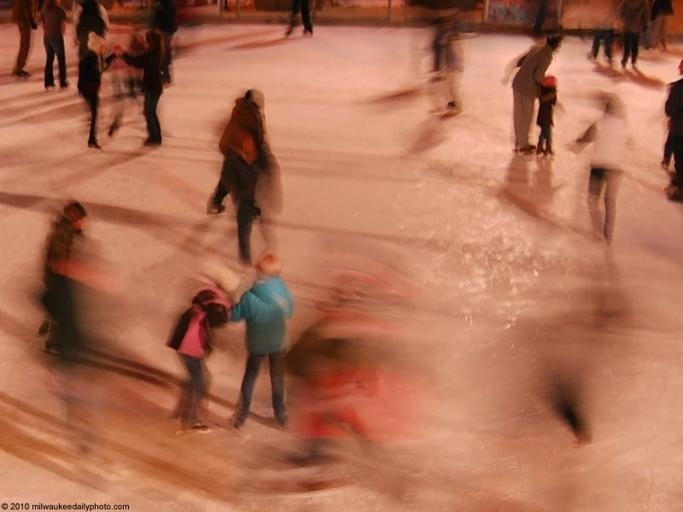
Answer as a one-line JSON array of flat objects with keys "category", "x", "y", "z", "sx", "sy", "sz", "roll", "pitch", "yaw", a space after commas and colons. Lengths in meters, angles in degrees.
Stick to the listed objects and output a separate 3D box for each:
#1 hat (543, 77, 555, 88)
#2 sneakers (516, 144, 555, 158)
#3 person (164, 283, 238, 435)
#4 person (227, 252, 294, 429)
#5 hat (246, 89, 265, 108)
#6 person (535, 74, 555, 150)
[{"category": "hat", "x": 2.948, "y": -2.468, "z": 9.909, "sx": 0.226, "sy": 0.146, "sz": 0.156, "roll": 0, "pitch": 26, "yaw": 0}, {"category": "sneakers", "x": 2.890, "y": -1.553, "z": 10.557, "sx": 0.625, "sy": 0.281, "sz": 0.209, "roll": 0, "pitch": 22, "yaw": 19}, {"category": "person", "x": -1.269, "y": 1.007, "z": 6.358, "sx": 0.502, "sy": 1.366, "sz": 0.416, "roll": -1, "pitch": 46, "yaw": -21}, {"category": "person", "x": -0.688, "y": 0.688, "z": 6.030, "sx": 0.539, "sy": 1.581, "sz": 0.480, "roll": -6, "pitch": 29, "yaw": -20}, {"category": "hat", "x": -0.872, "y": -1.562, "z": 6.990, "sx": 0.172, "sy": 0.200, "sz": 0.208, "roll": -6, "pitch": 27, "yaw": -12}, {"category": "person", "x": 2.971, "y": -1.999, "z": 10.164, "sx": 0.278, "sy": 1.217, "sz": 0.362, "roll": 7, "pitch": 26, "yaw": 16}]
